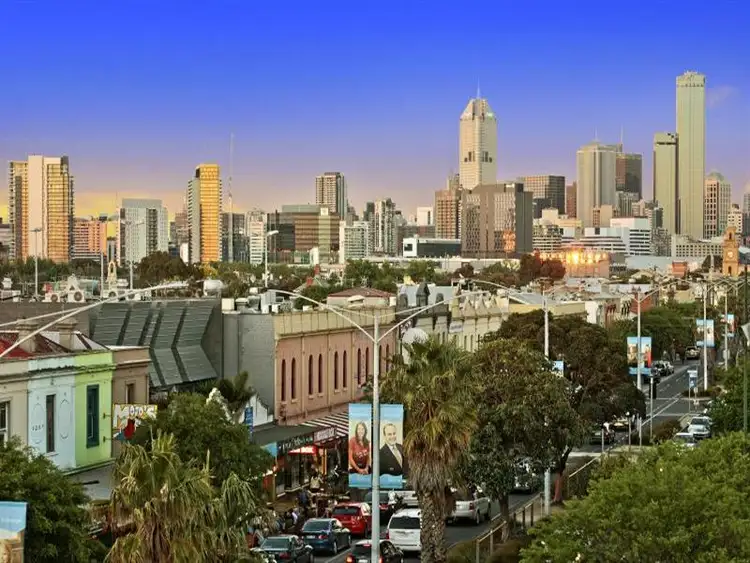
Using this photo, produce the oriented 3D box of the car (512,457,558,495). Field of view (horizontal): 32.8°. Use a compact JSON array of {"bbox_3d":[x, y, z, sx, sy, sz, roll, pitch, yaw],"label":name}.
[{"bbox_3d":[7.618,9.782,61.210,2.270,2.001,3.925,1,0,10],"label":"car"}]
